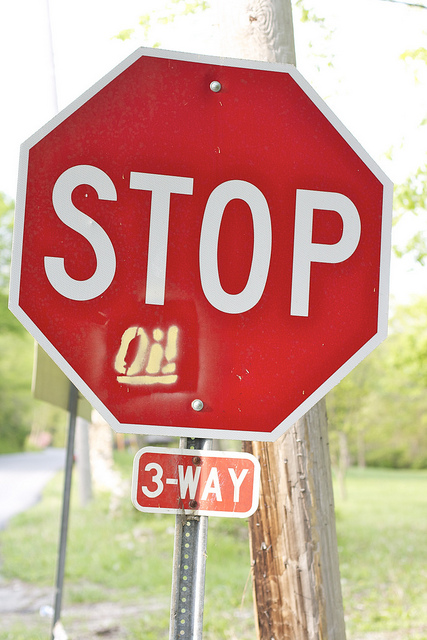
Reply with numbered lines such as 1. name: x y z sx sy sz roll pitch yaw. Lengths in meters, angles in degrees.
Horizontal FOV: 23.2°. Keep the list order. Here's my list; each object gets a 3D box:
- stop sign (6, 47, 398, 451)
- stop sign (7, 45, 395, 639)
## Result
1. stop sign: -0.026 -0.195 2.696 0.968 0.986 0.368 0 12 6
2. stop sign: -0.024 -0.190 2.693 0.964 0.991 0.373 1 12 8
